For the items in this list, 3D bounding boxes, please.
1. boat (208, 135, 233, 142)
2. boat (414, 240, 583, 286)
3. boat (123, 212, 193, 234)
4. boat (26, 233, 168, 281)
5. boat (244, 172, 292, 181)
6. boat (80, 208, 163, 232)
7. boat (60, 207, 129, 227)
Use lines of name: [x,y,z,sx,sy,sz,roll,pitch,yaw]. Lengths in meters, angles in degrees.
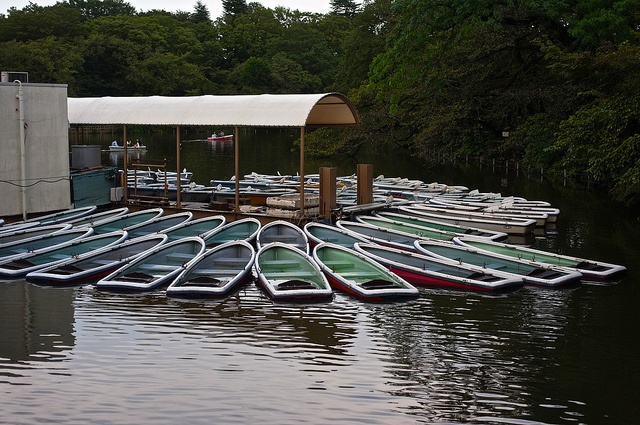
boat: [-9.999,-7.386,76.612,2.962,0.655,0.952,0,19,17]
boat: [5.591,1.619,23.579,4.984,0.608,1.692,12,15,39]
boat: [-5.604,0.430,26.574,0.814,0.318,1.854,2,17,27]
boat: [-6.605,1.409,23.692,1.409,0.611,3.888,15,23,30]
boat: [-2.792,-1.883,40.016,1.510,0.293,0.883,2,7,15]
boat: [-6.756,0.318,26.822,0.722,0.417,2.687,29,37,33]
boat: [-7.886,0.183,27.004,0.634,0.335,2.116,26,35,34]
